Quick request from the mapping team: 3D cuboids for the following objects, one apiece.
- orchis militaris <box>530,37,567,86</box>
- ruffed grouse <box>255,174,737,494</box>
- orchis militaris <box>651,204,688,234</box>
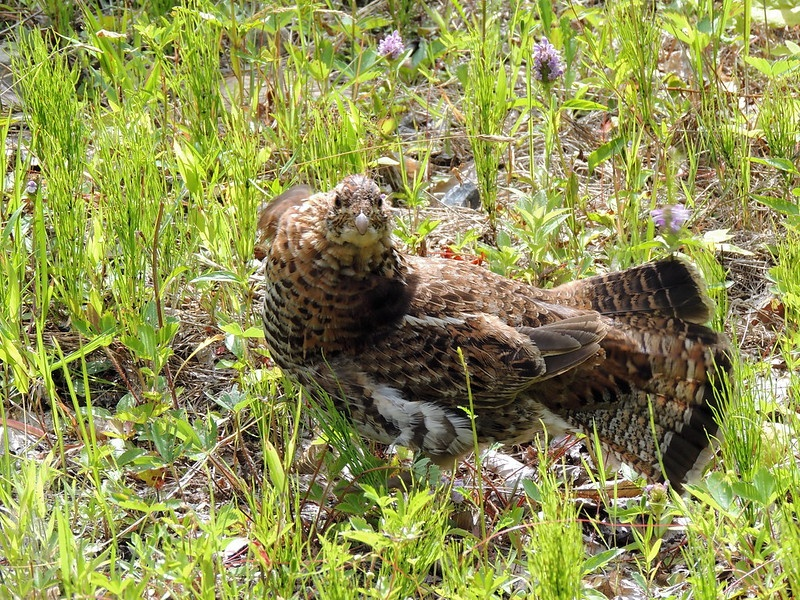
[{"bbox_3d":[0.792,-1.303,4.384,0.155,0.271,0.154,-7,6,15],"label":"orchis militaris"},{"bbox_3d":[0.488,0.216,4.115,2.001,1.161,1.295,9,4,3],"label":"ruffed grouse"},{"bbox_3d":[1.353,-0.428,4.132,0.162,0.104,0.171,-8,-19,30],"label":"orchis militaris"}]
